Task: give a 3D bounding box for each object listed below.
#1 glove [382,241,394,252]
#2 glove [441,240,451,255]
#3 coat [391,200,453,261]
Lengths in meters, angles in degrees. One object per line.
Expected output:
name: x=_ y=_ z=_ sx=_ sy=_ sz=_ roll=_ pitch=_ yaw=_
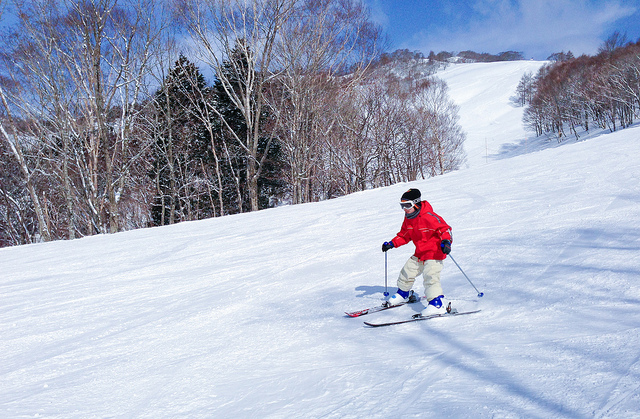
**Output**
glove: x=2.065 y=1.116 z=19.182 sx=0.303 sy=0.298 sz=0.140 roll=-8 pitch=44 yaw=-12
glove: x=3.768 y=1.100 z=18.735 sx=0.350 sy=0.333 sz=0.135 roll=-3 pitch=-10 yaw=30
coat: x=3.131 y=0.679 z=19.307 sx=2.413 sy=1.831 sz=0.890 roll=-5 pitch=7 yaw=42
